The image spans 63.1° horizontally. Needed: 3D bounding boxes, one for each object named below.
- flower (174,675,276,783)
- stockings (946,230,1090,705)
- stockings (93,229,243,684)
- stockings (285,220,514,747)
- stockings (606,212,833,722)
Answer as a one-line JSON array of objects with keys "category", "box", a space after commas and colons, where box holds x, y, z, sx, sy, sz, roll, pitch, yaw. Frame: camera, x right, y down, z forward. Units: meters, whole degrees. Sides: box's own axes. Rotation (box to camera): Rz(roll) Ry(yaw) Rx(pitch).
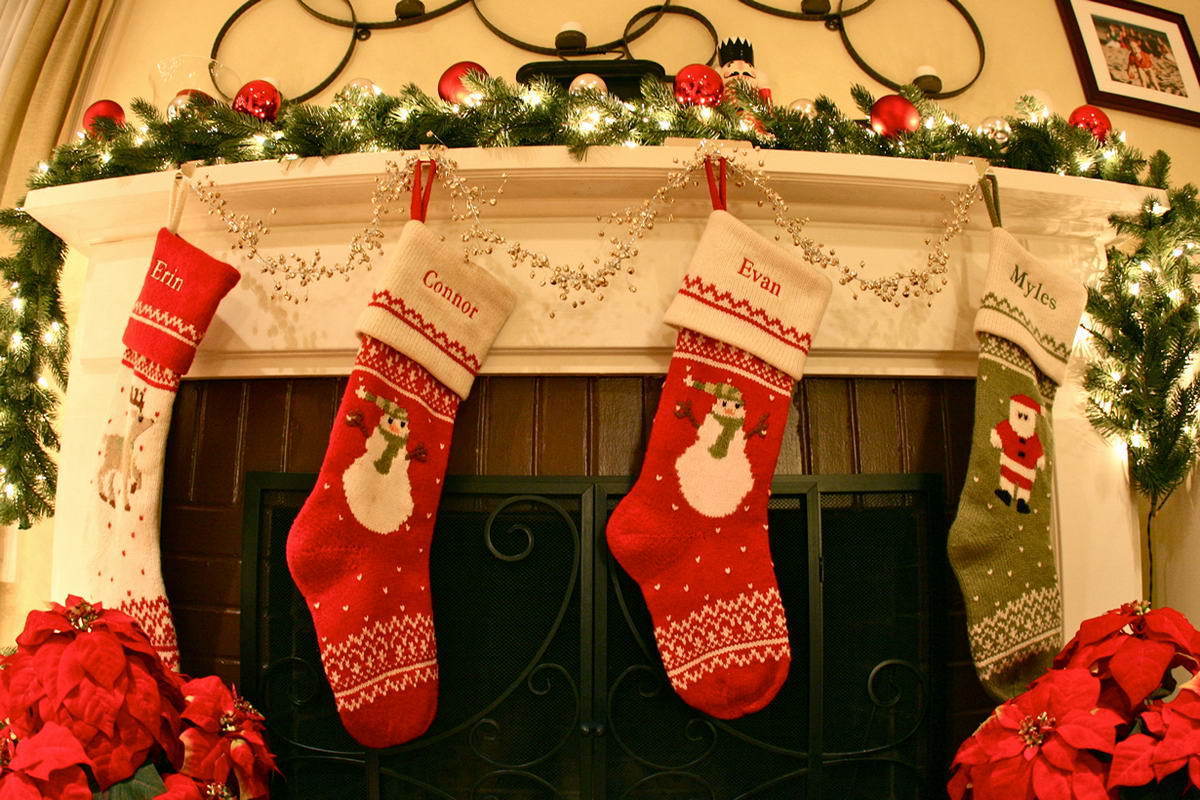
[{"category": "flower", "box": [-0.823, 0.744, 2.161, 0.207, 0.252, 0.085, 8, -18, -22]}, {"category": "stockings", "box": [0.991, 0.139, 2.327, 0.327, 1.102, 0.255, 10, -19, -27]}, {"category": "stockings", "box": [-1.065, 0.107, 2.366, 0.244, 1.043, 0.321, 10, -19, -27]}, {"category": "stockings", "box": [-0.470, 0.183, 2.304, 0.449, 1.203, 0.297, 8, -18, -21]}, {"category": "stockings", "box": [0.283, 0.143, 2.325, 0.485, 1.166, 0.297, 5, -17, -10]}]
